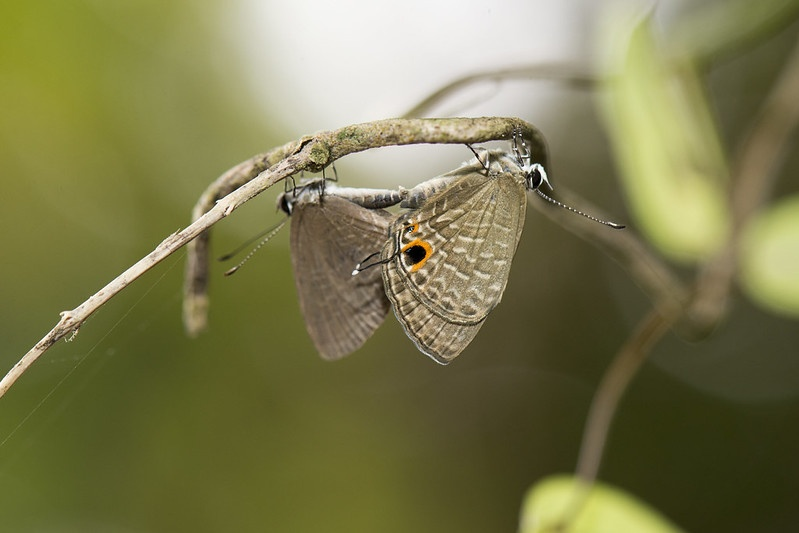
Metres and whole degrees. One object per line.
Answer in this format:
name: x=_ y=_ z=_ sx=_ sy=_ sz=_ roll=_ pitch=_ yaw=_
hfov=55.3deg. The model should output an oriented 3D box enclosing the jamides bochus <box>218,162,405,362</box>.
jamides bochus: x=-0.173 y=-0.026 z=1.678 sx=0.354 sy=0.285 sz=0.389 roll=-2 pitch=9 yaw=1
